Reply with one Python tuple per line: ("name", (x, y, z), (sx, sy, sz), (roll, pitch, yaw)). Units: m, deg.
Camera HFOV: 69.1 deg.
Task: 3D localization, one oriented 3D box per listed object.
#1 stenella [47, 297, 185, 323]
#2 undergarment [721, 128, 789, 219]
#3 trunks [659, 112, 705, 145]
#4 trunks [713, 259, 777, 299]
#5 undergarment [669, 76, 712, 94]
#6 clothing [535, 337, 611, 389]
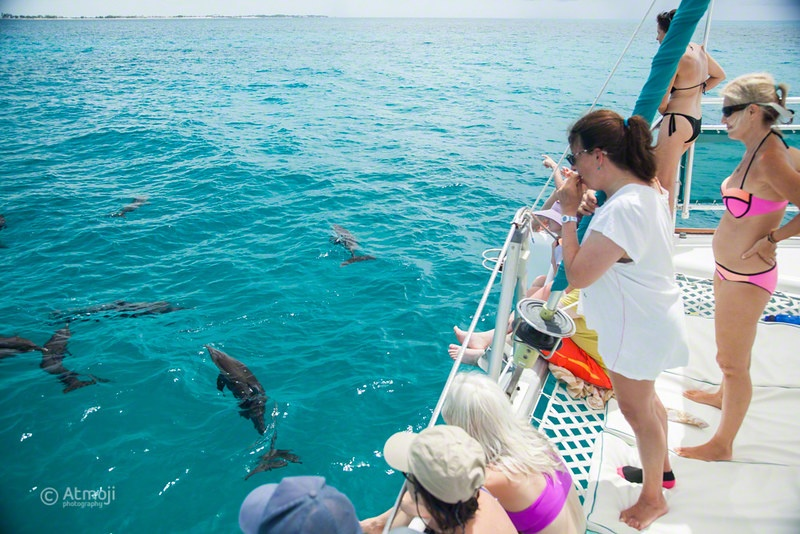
("stenella", (-5.565, 0.851, 11.397), (2.317, 0.238, 0.320), (-2, 35, -12))
("undergarment", (4.328, -1.104, 7.036), (0.875, 0.923, 0.867), (2, 9, 33))
("trunks", (3.562, -1.723, 7.253), (0.505, 0.301, 0.499), (-1, 8, 28))
("trunks", (4.035, 0.130, 6.739), (0.551, 0.209, 0.481), (17, -6, 4))
("undergarment", (3.611, -2.212, 7.131), (0.485, 0.098, 0.389), (-5, 13, 15))
("clothing", (2.207, 1.181, 7.192), (1.044, 0.264, 0.586), (25, -16, 15))
